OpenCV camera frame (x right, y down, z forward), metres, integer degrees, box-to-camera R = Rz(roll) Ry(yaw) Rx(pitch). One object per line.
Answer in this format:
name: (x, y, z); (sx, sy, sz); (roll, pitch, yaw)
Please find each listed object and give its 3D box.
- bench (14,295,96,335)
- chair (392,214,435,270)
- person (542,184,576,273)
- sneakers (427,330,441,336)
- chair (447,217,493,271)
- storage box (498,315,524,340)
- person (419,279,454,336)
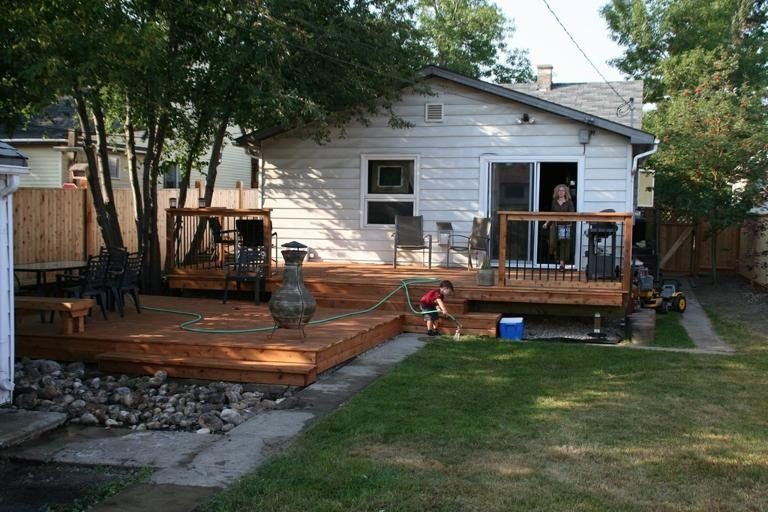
bench: (-4.677, 0.827, 8.796); (0.951, 0.483, 0.476); (4, 8, 6)
chair: (0.548, -0.380, 13.292); (1.139, 1.377, 1.086); (0, -2, 0)
person: (3.421, -0.558, 12.060); (0.564, 1.680, 1.500); (6, 8, 16)
sneakers: (0.831, 1.267, 10.234); (0.231, 0.077, 0.072); (0, 2, 1)
chair: (1.745, -0.268, 12.720); (0.881, 1.102, 1.192); (4, 8, 6)
storage box: (2.135, 1.189, 10.336); (0.404, 0.259, 0.387); (0, 2, 16)
person: (0.845, 0.827, 10.204); (0.480, 0.959, 0.947); (4, 8, 4)
